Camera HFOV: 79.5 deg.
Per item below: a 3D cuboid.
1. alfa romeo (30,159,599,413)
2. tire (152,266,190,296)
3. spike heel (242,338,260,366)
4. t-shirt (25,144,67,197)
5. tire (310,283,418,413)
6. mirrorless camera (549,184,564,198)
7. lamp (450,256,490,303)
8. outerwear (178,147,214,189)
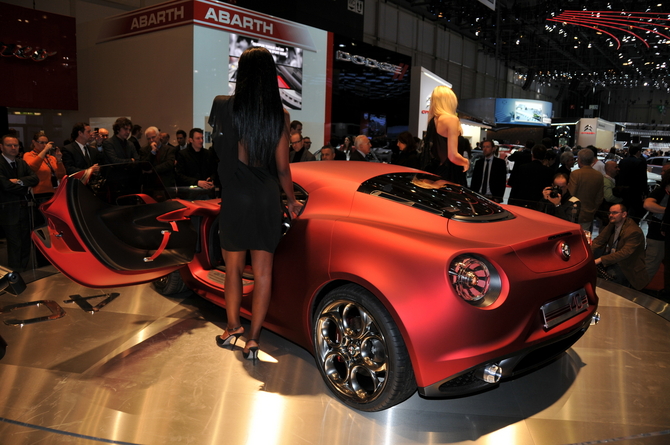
[{"bbox_3d":[-0.164,0.280,4.720,3.448,1.700,5.247,-4,7,-42],"label":"alfa romeo"},{"bbox_3d":[-1.681,0.603,4.148,0.316,0.350,0.137,5,16,37],"label":"tire"},{"bbox_3d":[-0.675,1.059,3.281,0.082,0.110,0.241,0,7,-15],"label":"spike heel"},{"bbox_3d":[-4.690,-0.769,6.463,0.446,0.808,0.680,-7,-2,1],"label":"t-shirt"},{"bbox_3d":[0.226,0.864,2.776,0.280,0.706,0.692,-9,-13,-35],"label":"tire"},{"bbox_3d":[3.046,-0.420,5.511,0.203,0.141,0.229,-15,0,24],"label":"mirrorless camera"},{"bbox_3d":[0.867,0.364,2.565,0.278,0.256,0.118,-2,14,-16],"label":"lamp"},{"bbox_3d":[-2.171,-0.852,6.388,0.648,0.759,0.388,-4,1,-27],"label":"outerwear"}]
